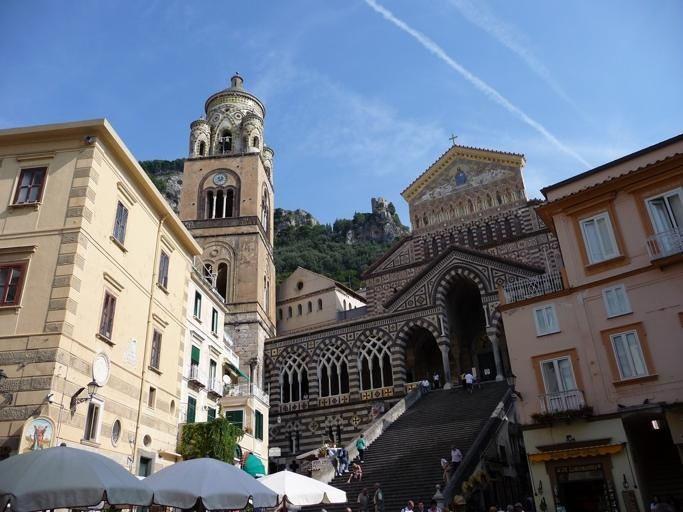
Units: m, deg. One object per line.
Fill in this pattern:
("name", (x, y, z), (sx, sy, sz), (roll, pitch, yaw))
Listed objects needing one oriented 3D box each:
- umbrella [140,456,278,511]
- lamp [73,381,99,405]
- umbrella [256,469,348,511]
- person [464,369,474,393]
("umbrella", (-2.999, 4.911, 11.255), (1.525, 0.613, 1.662), (0, -38, 21))
("lamp", (-7.299, 3.941, 15.022), (0.814, 0.541, 0.285), (-33, -42, 22))
("umbrella", (-1.058, 6.251, 14.143), (1.750, 0.715, 1.965), (-14, -48, 21))
("person", (6.723, 6.663, 27.680), (0.381, 1.045, 1.139), (-6, -24, 10))
